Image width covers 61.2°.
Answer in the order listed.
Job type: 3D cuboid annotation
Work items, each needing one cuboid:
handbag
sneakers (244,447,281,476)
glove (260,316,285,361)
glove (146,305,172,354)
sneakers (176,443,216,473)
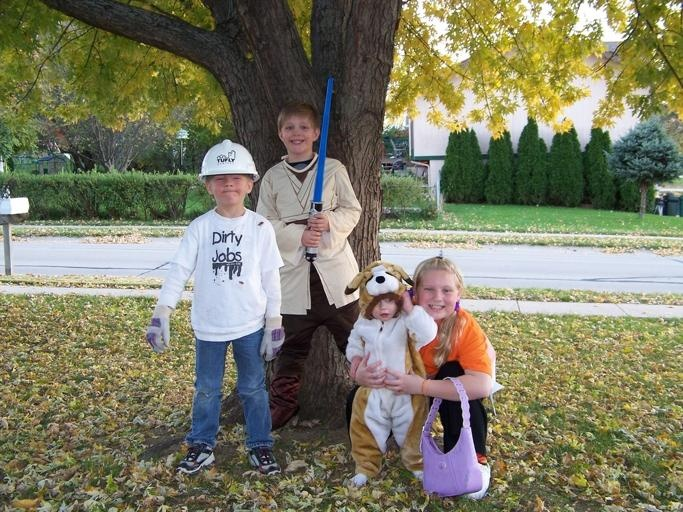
[{"bbox_3d":[0.749,1.225,3.923,0.402,0.777,0.176,1,6,14],"label":"handbag"},{"bbox_3d":[-0.584,1.503,4.294,0.112,0.163,0.314,-7,1,-40],"label":"sneakers"},{"bbox_3d":[-0.519,0.602,4.317,0.158,0.321,0.099,5,3,-7],"label":"glove"},{"bbox_3d":[-1.329,0.530,4.188,0.180,0.406,0.465,-2,6,-19],"label":"glove"},{"bbox_3d":[-1.065,1.482,4.295,0.124,0.168,0.331,1,0,29],"label":"sneakers"}]
